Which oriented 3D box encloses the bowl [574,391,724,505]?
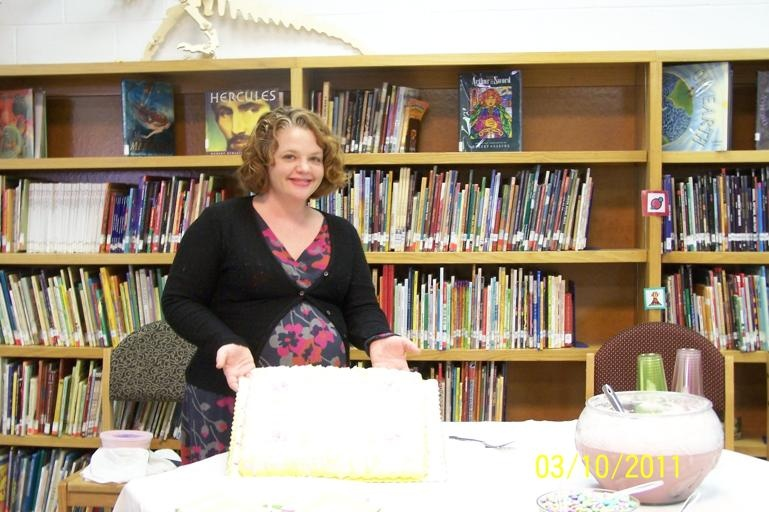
[{"bbox_3d":[0.733,0.491,2.069,0.349,0.217,0.353,-3,0,0],"label":"bowl"}]

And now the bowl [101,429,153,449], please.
[{"bbox_3d":[-1.083,0.760,3.013,0.198,0.071,0.158,-2,14,-9],"label":"bowl"}]
